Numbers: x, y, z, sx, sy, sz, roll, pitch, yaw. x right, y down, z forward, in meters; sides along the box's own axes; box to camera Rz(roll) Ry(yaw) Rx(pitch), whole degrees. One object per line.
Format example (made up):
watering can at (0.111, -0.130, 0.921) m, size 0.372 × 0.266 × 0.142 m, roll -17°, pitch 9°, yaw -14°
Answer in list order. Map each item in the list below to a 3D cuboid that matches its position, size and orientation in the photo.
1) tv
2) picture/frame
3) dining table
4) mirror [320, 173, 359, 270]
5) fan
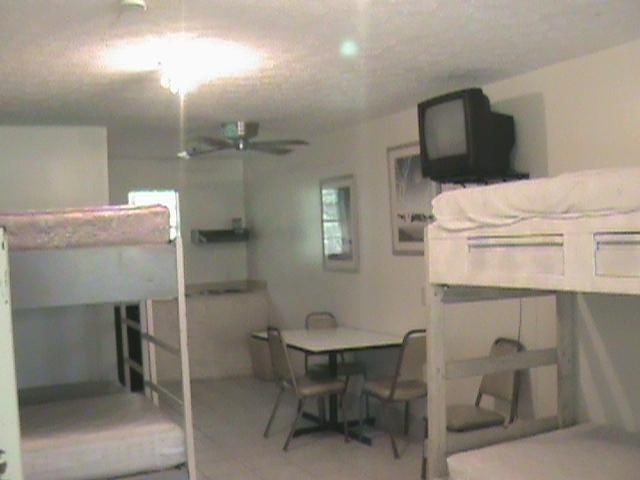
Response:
tv at (1.061, -0.669, 4.379) m, size 0.668 × 0.718 × 0.697 m, roll -2°, pitch 1°, yaw -32°
picture/frame at (0.875, -0.363, 5.309) m, size 0.021 × 0.924 × 0.800 m, roll 2°, pitch 7°, yaw 43°
dining table at (0.120, 1.002, 5.218) m, size 0.979 × 0.918 × 1.226 m, roll -2°, pitch 3°, yaw -27°
mirror at (0.224, -0.192, 6.101) m, size 0.081 × 1.179 × 0.994 m, roll 0°, pitch -3°, yaw -25°
fan at (-0.831, -0.962, 5.621) m, size 1.011 × 0.367 × 1.773 m, roll -2°, pitch 3°, yaw -14°
